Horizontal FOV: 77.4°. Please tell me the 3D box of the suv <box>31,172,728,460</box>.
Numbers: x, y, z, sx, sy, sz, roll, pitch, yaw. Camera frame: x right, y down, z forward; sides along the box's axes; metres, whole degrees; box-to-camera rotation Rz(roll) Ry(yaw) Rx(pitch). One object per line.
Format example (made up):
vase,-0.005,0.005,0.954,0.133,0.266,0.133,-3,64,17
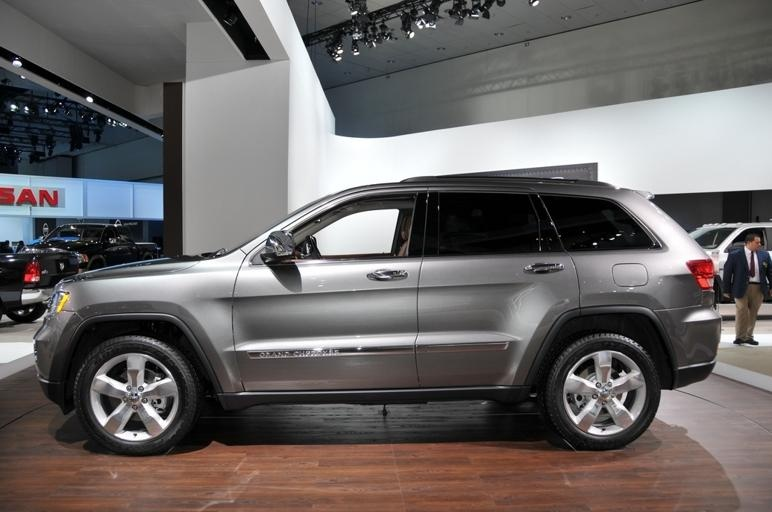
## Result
suv,0.013,0.499,4.812,5.448,1.953,2.449,1,-3,-1
